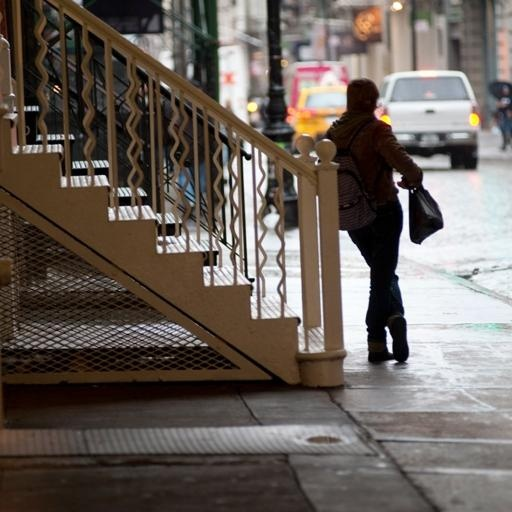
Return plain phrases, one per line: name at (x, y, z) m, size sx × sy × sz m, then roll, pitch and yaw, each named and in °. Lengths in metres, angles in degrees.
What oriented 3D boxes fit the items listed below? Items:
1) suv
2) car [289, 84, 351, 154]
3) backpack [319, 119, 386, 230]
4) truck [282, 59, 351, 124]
suv at (3.677, -2.796, 22.271) m, size 2.086 × 1.972 × 4.484 m, roll -1°, pitch 15°, yaw 2°
car at (1.742, -4.171, 29.019) m, size 2.109 × 1.880 × 3.879 m, roll -2°, pitch 13°, yaw -1°
backpack at (0.615, -0.494, 6.338) m, size 0.271 × 0.702 × 0.240 m, roll -2°, pitch 7°, yaw -11°
truck at (2.548, -6.277, 36.444) m, size 2.626 × 2.986 × 4.945 m, roll -1°, pitch 10°, yaw -2°
